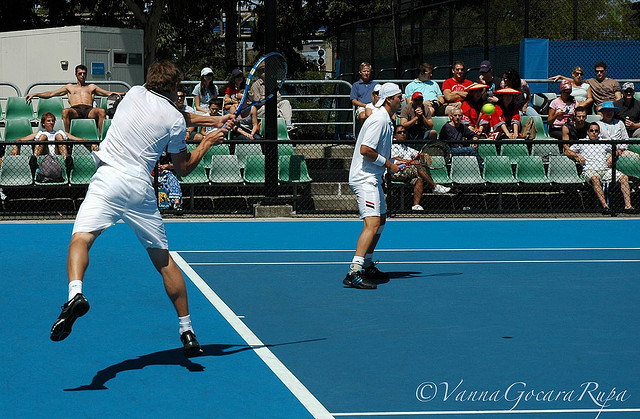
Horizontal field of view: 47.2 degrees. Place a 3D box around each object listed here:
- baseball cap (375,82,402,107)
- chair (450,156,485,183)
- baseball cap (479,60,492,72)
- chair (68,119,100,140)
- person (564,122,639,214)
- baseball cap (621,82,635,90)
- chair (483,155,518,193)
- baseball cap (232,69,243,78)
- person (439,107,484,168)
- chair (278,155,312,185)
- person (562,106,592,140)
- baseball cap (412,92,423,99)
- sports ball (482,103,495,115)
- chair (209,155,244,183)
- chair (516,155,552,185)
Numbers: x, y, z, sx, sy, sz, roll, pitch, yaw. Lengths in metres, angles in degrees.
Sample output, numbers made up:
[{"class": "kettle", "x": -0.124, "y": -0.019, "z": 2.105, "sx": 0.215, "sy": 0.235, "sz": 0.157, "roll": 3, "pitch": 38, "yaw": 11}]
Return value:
[{"class": "baseball cap", "x": 0.888, "y": -1.596, "z": 9.790, "sx": 0.347, "sy": 0.209, "sz": 0.245, "roll": -28, "pitch": 18, "yaw": 5}, {"class": "chair", "x": 2.933, "y": -0.810, "z": 14.844, "sx": 0.669, "sy": 0.463, "sz": 0.499, "roll": -1, "pitch": 4, "yaw": -9}, {"class": "baseball cap", "x": 3.685, "y": -3.257, "z": 16.390, "sx": 0.205, "sy": 0.242, "sz": 0.323, "roll": 2, "pitch": 11, "yaw": 9}, {"class": "chair", "x": -5.126, "y": -1.774, "z": 15.946, "sx": 0.604, "sy": 0.410, "sz": 0.460, "roll": 0, "pitch": 9, "yaw": -12}, {"class": "person", "x": 5.678, "y": -0.816, "z": 14.844, "sx": 0.789, "sy": 1.786, "sz": 1.223, "roll": -9, "pitch": 14, "yaw": -42}, {"class": "baseball cap", "x": 6.834, "y": -2.803, "z": 16.326, "sx": 0.241, "sy": 0.151, "sz": 0.394, "roll": 2, "pitch": 0, "yaw": 9}, {"class": "chair", "x": 3.680, "y": -0.831, "z": 14.985, "sx": 0.743, "sy": 0.549, "sz": 0.364, "roll": -3, "pitch": 11, "yaw": -16}, {"class": "baseball cap", "x": -1.728, "y": -2.870, "z": 15.088, "sx": 0.209, "sy": 0.157, "sz": 0.344, "roll": -2, "pitch": -1, "yaw": 0}, {"class": "person", "x": 2.874, "y": -1.457, "z": 14.999, "sx": 0.926, "sy": 1.299, "sz": 0.801, "roll": 2, "pitch": 3, "yaw": 29}, {"class": "chair", "x": -0.686, "y": -0.863, "z": 15.039, "sx": 0.715, "sy": 0.608, "sz": 0.650, "roll": 2, "pitch": -3, "yaw": -31}, {"class": "person", "x": 5.510, "y": -1.748, "z": 15.627, "sx": 0.693, "sy": 0.934, "sz": 0.526, "roll": -2, "pitch": 11, "yaw": 3}, {"class": "baseball cap", "x": 1.980, "y": -2.382, "z": 15.139, "sx": 0.168, "sy": 0.131, "sz": 0.271, "roll": -4, "pitch": -8, "yaw": 1}, {"class": "sports ball", "x": 3.558, "y": -2.184, "z": 15.635, "sx": 0.262, "sy": 0.225, "sz": 0.231, "roll": 21, "pitch": 35, "yaw": -5}, {"class": "chair", "x": -1.832, "y": -0.705, "z": 14.738, "sx": 0.402, "sy": 0.478, "sz": 0.358, "roll": 4, "pitch": 6, "yaw": -30}, {"class": "chair", "x": 4.486, "y": -0.730, "z": 15.019, "sx": 0.644, "sy": 0.568, "sz": 0.839, "roll": 15, "pitch": 30, "yaw": 22}]
